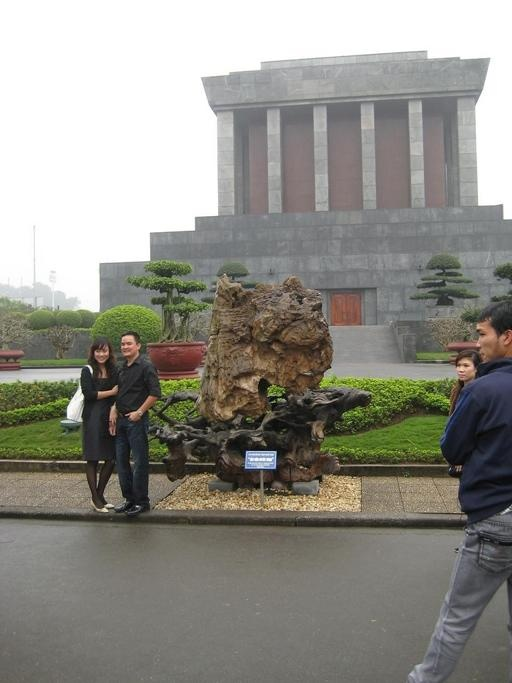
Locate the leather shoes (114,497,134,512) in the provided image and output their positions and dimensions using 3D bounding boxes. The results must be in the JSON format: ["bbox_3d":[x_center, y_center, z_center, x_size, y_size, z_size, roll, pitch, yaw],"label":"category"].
[{"bbox_3d":[-1.210,1.510,6.069,0.208,0.082,0.070,1,-6,3],"label":"leather shoes"}]

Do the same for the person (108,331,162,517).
[{"bbox_3d":[-1.139,0.736,6.186,0.473,1.641,0.528,-3,2,-13],"label":"person"}]

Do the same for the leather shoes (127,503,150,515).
[{"bbox_3d":[-1.075,1.521,6.006,0.215,0.084,0.072,10,-17,-40],"label":"leather shoes"}]

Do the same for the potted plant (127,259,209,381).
[{"bbox_3d":[-2.411,-0.637,18.129,2.087,3.089,2.017,-1,6,-27],"label":"potted plant"}]

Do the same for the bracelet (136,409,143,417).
[{"bbox_3d":[-1.087,0.657,6.028,0.049,0.072,0.069,38,-28,-11],"label":"bracelet"}]
